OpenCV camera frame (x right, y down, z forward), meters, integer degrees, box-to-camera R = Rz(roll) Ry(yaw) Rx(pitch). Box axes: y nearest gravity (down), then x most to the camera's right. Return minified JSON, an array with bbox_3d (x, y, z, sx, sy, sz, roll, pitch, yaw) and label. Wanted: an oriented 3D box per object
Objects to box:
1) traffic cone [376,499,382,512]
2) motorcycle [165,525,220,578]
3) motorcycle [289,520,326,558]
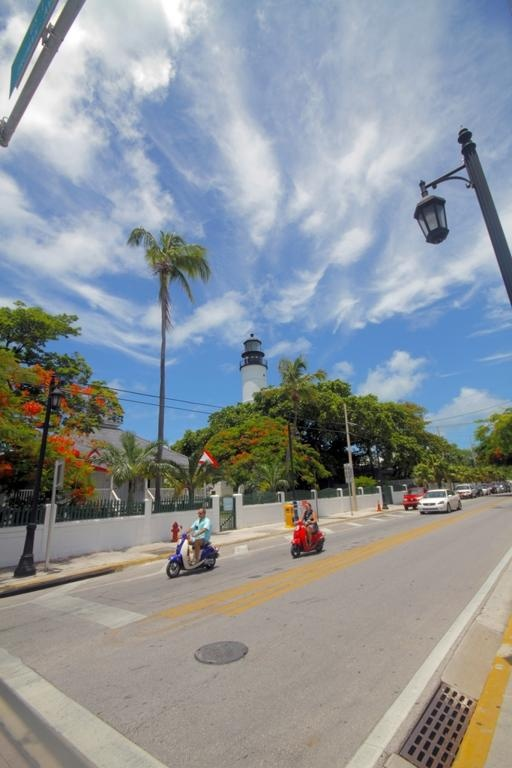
[{"bbox_3d":[9.664,9.453,35.717,0.406,0.781,0.507,-4,-11,3],"label":"traffic cone"},{"bbox_3d":[-1.517,3.776,10.338,0.515,0.821,1.472,-4,-10,30],"label":"motorcycle"},{"bbox_3d":[1.340,4.196,12.032,0.559,0.872,1.157,-18,-35,29],"label":"motorcycle"}]
